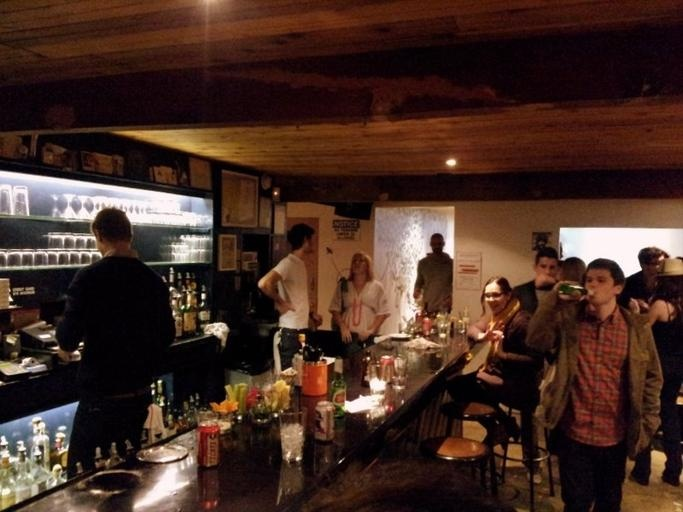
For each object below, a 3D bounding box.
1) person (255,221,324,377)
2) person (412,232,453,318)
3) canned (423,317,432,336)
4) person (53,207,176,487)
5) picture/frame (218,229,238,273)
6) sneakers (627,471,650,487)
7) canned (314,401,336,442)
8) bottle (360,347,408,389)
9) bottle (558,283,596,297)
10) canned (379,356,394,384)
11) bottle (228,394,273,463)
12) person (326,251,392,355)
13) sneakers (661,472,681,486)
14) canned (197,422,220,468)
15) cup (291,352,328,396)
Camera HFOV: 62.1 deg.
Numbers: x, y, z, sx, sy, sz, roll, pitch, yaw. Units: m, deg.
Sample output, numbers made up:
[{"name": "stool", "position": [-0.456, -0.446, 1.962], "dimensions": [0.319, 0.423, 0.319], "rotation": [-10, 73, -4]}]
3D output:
[{"name": "person", "position": [-0.487, 0.371, 5.831], "dimensions": [0.578, 1.424, 1.489], "rotation": [2, 5, -2]}, {"name": "person", "position": [1.299, 0.253, 7.984], "dimensions": [0.515, 1.131, 0.520], "rotation": [2, 5, 7]}, {"name": "canned", "position": [0.901, 0.742, 5.953], "dimensions": [0.083, 0.177, 0.203], "rotation": [2, 5, 5]}, {"name": "person", "position": [-1.417, 0.514, 3.646], "dimensions": [0.699, 1.634, 0.327], "rotation": [-3, 7, -42]}, {"name": "picture/frame", "position": [-1.154, -0.048, 5.760], "dimensions": [0.066, 0.471, 0.436], "rotation": [-1, -4, 22]}, {"name": "sneakers", "position": [2.591, 1.921, 4.944], "dimensions": [0.093, 0.119, 0.175], "rotation": [3, 5, -19]}, {"name": "canned", "position": [-0.082, 0.856, 2.977], "dimensions": [0.111, 0.201, 0.122], "rotation": [1, 5, -3]}, {"name": "bottle", "position": [0.285, 0.768, 3.934], "dimensions": [0.294, 0.315, 0.235], "rotation": [1, -1, 25]}, {"name": "bottle", "position": [1.469, 0.222, 3.580], "dimensions": [0.194, 0.098, 0.196], "rotation": [2, 5, 0]}, {"name": "canned", "position": [0.313, 0.775, 3.886], "dimensions": [0.093, 0.149, 0.197], "rotation": [2, 5, 4]}, {"name": "bottle", "position": [-0.456, 0.855, 2.977], "dimensions": [0.238, 0.223, 0.458], "rotation": [1, 5, -11]}, {"name": "person", "position": [0.205, 0.496, 6.124], "dimensions": [0.651, 1.057, 0.479], "rotation": [2, 5, -1]}, {"name": "sneakers", "position": [2.855, 1.934, 4.940], "dimensions": [0.080, 0.152, 0.160], "rotation": [1, -6, -14]}, {"name": "canned", "position": [-0.617, 0.897, 2.705], "dimensions": [0.116, 0.199, 0.099], "rotation": [-1, 6, -32]}, {"name": "cup", "position": [-0.193, 0.731, 3.551], "dimensions": [0.219, 0.243, 0.237], "rotation": [0, -2, 0]}]
